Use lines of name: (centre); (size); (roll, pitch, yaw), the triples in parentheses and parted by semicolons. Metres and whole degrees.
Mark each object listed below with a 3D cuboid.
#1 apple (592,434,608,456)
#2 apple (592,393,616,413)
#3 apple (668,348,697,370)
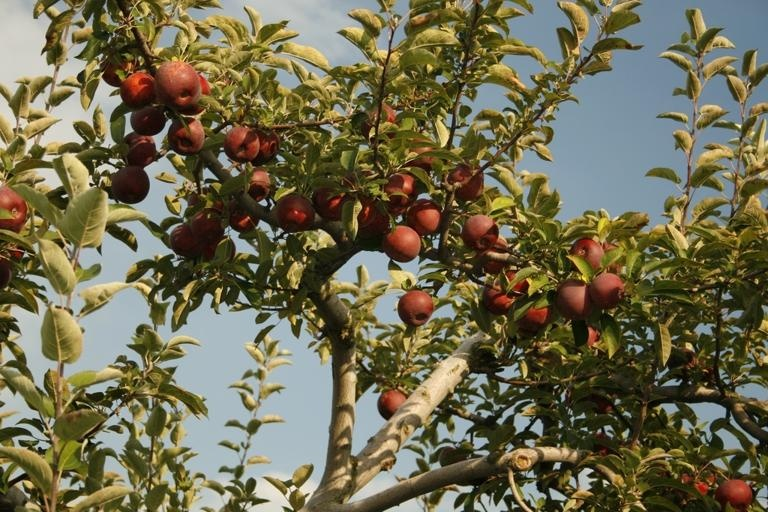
apple: (1.744, 1.536, 9.717); (0.180, 0.160, 0.129); (0, -91, 18)
apple: (1.837, 1.240, 10.037); (0.185, 0.207, 0.154); (5, -90, -11)
apple: (2.391, 0.841, 9.663); (0.189, 0.145, 0.151); (-3, -93, 35)
